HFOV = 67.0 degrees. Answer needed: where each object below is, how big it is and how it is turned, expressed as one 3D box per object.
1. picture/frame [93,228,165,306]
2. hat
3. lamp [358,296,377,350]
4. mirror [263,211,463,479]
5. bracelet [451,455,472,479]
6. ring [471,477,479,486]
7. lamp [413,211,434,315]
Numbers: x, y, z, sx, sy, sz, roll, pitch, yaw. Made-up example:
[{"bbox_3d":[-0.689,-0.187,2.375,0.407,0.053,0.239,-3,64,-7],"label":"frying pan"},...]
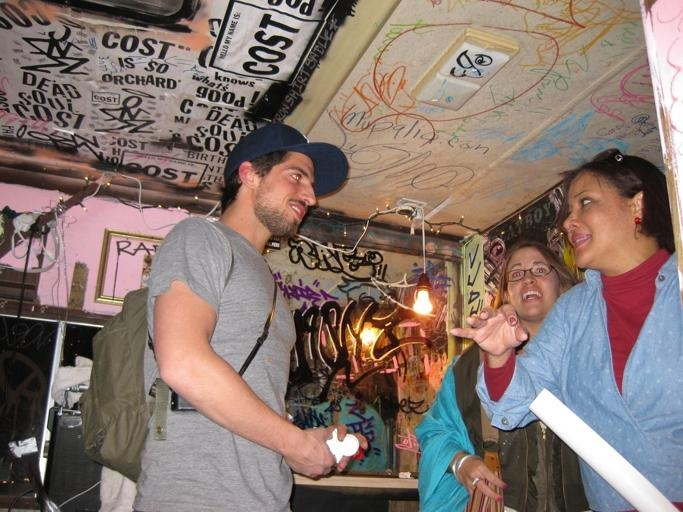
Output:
[{"bbox_3d":[-1.731,0.093,4.113,0.745,0.704,0.055,4,-12,-14],"label":"picture/frame"},{"bbox_3d":[-0.271,-0.605,3.078,0.714,0.361,0.479,-18,-13,-1],"label":"hat"},{"bbox_3d":[0.278,0.710,5.305,0.296,0.370,0.094,7,-9,-36],"label":"lamp"},{"bbox_3d":[0.173,0.775,4.493,2.376,2.513,0.269,13,-22,-25],"label":"mirror"},{"bbox_3d":[0.781,1.381,3.419,0.119,0.147,0.061,-9,36,-35],"label":"bracelet"},{"bbox_3d":[0.828,1.410,3.206,0.037,0.049,0.016,48,-3,-42],"label":"ring"},{"bbox_3d":[0.806,0.057,5.057,0.218,0.967,0.207,1,2,3],"label":"lamp"}]
